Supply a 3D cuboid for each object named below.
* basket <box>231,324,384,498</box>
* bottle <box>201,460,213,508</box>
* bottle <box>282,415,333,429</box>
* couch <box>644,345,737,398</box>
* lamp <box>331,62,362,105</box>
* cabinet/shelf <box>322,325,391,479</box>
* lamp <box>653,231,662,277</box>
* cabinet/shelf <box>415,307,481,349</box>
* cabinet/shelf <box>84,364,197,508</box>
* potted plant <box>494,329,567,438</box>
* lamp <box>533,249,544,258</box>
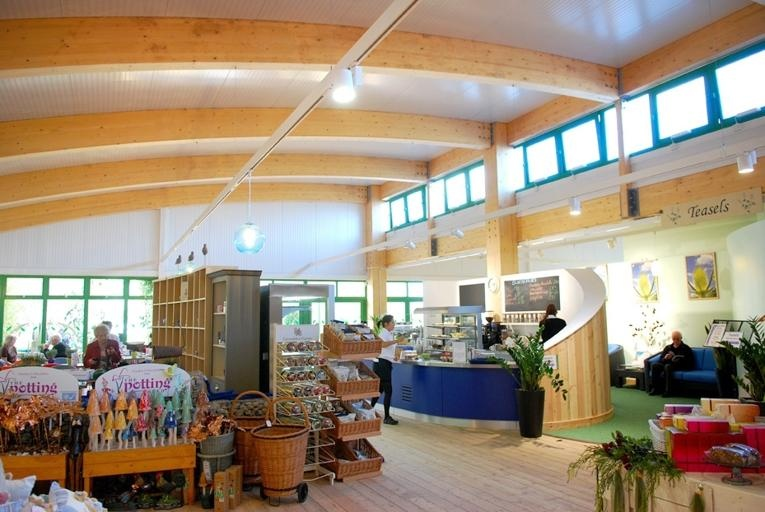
[{"bbox_3d":[-1.044,2.126,7.733,2.463,2.358,2.167,4,-8,-34],"label":"basket"},{"bbox_3d":[-2.171,2.795,6.319,0.133,0.530,0.187,0,1,-23],"label":"bottle"},{"bbox_3d":[-1.052,2.297,7.207,0.380,0.092,0.378,0,-1,0],"label":"bottle"},{"bbox_3d":[6.730,2.490,11.043,0.997,0.988,1.775,3,-7,-25],"label":"couch"},{"bbox_3d":[-0.436,-2.056,6.057,0.326,0.432,0.183,0,1,-18],"label":"lamp"},{"bbox_3d":[-0.490,2.082,7.473,0.852,1.974,0.947,-2,-12,37],"label":"cabinet/shelf"},{"bbox_3d":[6.714,-0.064,12.614,0.164,1.083,0.346,1,1,28],"label":"lamp"},{"bbox_3d":[1.528,1.604,11.724,0.526,1.088,1.825,0,1,-31],"label":"cabinet/shelf"},{"bbox_3d":[-2.964,2.192,6.312,1.265,1.717,0.347,0,1,-16],"label":"cabinet/shelf"},{"bbox_3d":[2.533,2.096,8.965,1.264,1.802,0.952,1,1,33],"label":"potted plant"},{"bbox_3d":[5.215,-0.100,17.075,0.265,0.502,0.244,-6,-6,16],"label":"lamp"}]
